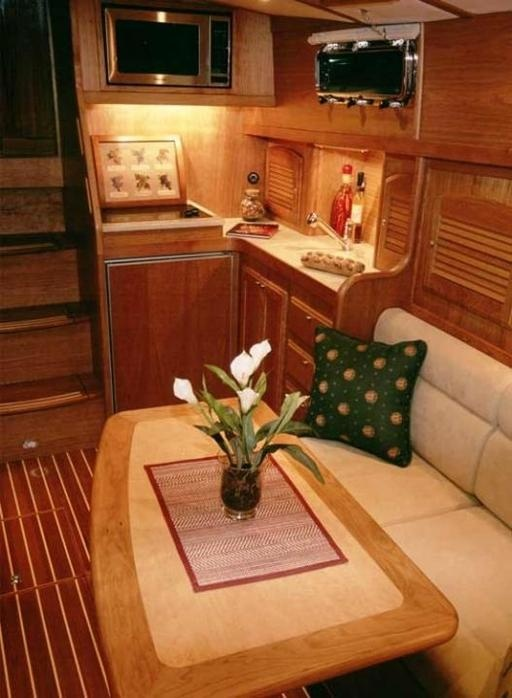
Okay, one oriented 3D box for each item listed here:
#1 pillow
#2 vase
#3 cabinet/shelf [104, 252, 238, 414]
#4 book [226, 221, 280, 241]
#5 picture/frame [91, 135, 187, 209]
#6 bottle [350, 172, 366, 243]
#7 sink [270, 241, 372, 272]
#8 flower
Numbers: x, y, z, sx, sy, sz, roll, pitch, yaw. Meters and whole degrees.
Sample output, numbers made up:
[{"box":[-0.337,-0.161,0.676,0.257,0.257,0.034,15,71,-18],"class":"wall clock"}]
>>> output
[{"box":[0.377,0.172,1.825,0.388,0.352,0.193,15,31,38],"class":"pillow"},{"box":[-0.037,0.308,1.209,0.089,0.123,0.079,7,15,1],"class":"vase"},{"box":[-0.545,-0.166,3.187,0.694,0.917,0.519,-6,26,-18],"class":"cabinet/shelf"},{"box":[-0.014,-0.689,3.061,0.265,0.035,0.352,4,23,9],"class":"book"},{"box":[-0.685,-1.013,3.008,0.561,0.422,0.057,-10,18,-24],"class":"picture/frame"},{"box":[0.528,-0.728,2.714,0.077,0.322,0.076,-1,32,1],"class":"bottle"},{"box":[0.280,-0.464,2.537,0.224,0.097,0.408,-12,27,-41],"class":"sink"},{"box":[-0.057,0.174,1.181,0.262,0.274,0.245,-10,-10,30],"class":"flower"}]
